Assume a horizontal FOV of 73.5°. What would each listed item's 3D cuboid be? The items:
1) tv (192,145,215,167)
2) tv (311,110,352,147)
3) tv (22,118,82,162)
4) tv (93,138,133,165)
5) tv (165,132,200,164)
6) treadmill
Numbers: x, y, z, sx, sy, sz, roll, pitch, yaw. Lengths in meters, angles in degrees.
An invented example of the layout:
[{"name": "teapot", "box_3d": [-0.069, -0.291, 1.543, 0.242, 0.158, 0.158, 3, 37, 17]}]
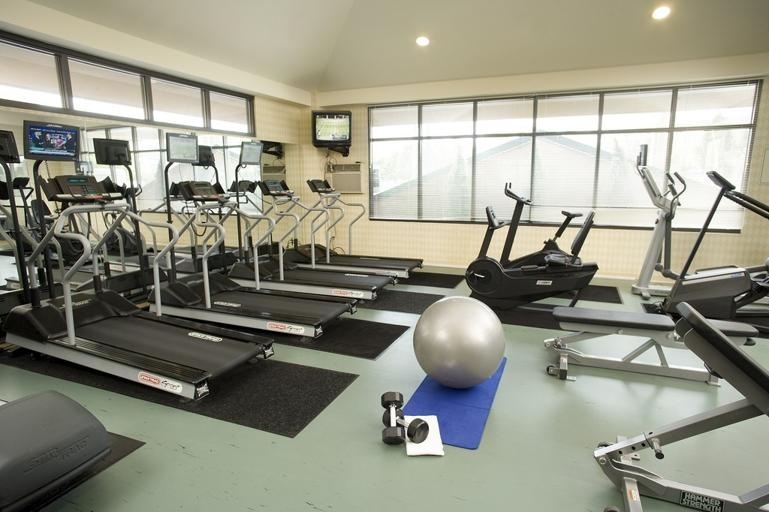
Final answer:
[{"name": "tv", "box_3d": [-2.738, -1.506, 7.744, 0.253, 0.383, 0.439, 4, 9, 13]}, {"name": "tv", "box_3d": [-1.111, -2.496, 10.043, 0.851, 0.663, 0.464, -9, 22, -30]}, {"name": "tv", "box_3d": [-3.870, -1.340, 5.950, 0.341, 0.470, 0.706, 9, 15, 26]}, {"name": "tv", "box_3d": [-3.590, -1.370, 6.768, 0.156, 0.334, 0.428, 8, 12, 30]}, {"name": "tv", "box_3d": [-2.867, -1.526, 7.285, 0.079, 0.392, 0.564, 6, 9, 25]}, {"name": "treadmill", "box_3d": [-1.999, 0.142, 6.245, 4.100, 2.466, 2.167, 5, 9, 21]}]
